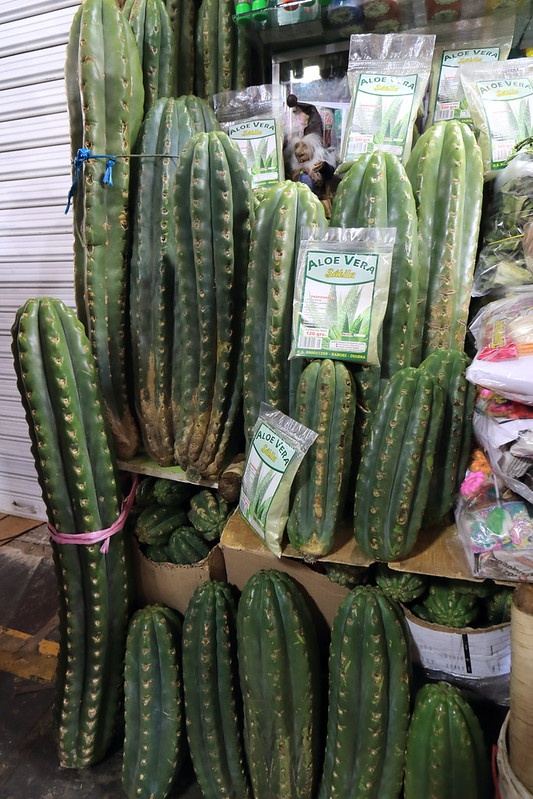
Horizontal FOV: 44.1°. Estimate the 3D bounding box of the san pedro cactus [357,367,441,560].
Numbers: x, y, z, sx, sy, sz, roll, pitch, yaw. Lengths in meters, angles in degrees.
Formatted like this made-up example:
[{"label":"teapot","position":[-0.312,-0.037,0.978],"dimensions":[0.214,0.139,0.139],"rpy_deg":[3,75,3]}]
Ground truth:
[{"label":"san pedro cactus","position":[0.234,0.127,1.186],"dimensions":[0.128,0.361,0.109],"rpy_deg":[7,25,10]}]
